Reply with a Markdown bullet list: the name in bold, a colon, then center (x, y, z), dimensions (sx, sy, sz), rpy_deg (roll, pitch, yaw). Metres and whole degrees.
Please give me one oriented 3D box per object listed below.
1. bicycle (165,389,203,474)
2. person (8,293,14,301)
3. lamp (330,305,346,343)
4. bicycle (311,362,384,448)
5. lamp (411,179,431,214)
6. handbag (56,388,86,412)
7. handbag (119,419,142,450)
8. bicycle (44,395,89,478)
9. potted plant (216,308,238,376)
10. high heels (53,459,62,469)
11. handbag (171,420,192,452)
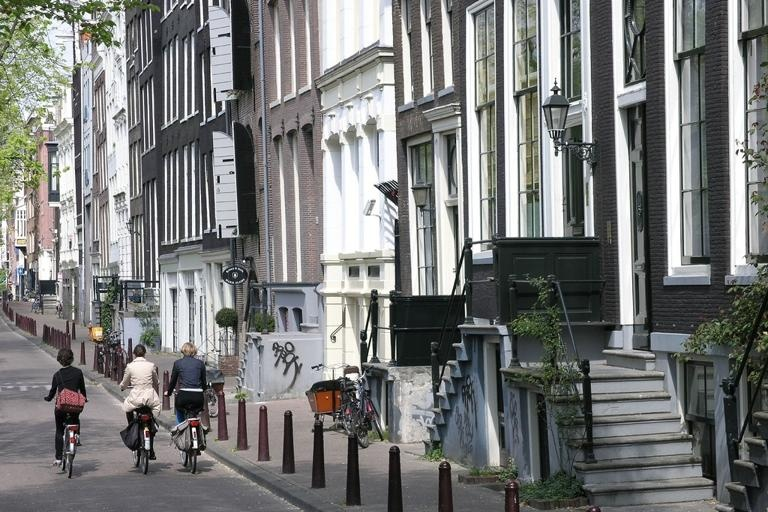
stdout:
- **bicycle**: center (-3.734, 3.423, 24.404), dimensions (0.678, 0.915, 1.440), rpy_deg (-2, 0, -14)
- **person**: center (-42.253, 4.551, 143.551), dimensions (0.298, 0.949, 0.674), rpy_deg (4, 6, 17)
- **lamp**: center (-1.124, 1.743, 32.709), dimensions (0.202, 0.907, 0.597), rpy_deg (3, -6, -42)
- **bicycle**: center (-0.697, 3.186, 26.797), dimensions (0.924, 1.173, 1.931), rpy_deg (-10, 4, -19)
- **lamp**: center (0.828, -1.326, 27.342), dimensions (0.549, 0.831, 0.560), rpy_deg (3, 3, 2)
- **handbag**: center (-5.985, 2.737, 24.220), dimensions (0.405, 0.394, 0.201), rpy_deg (10, -12, -31)
- **handbag**: center (-4.845, 3.436, 24.332), dimensions (0.305, 0.568, 0.380), rpy_deg (1, -5, -24)
- **bicycle**: center (-5.977, 3.334, 24.112), dimensions (0.557, 1.616, 1.354), rpy_deg (0, -5, -14)
- **potted plant**: center (-5.072, 2.758, 41.294), dimensions (0.683, 2.157, 2.357), rpy_deg (0, -5, -7)
- **high heels**: center (-6.220, 3.953, 24.153), dimensions (0.151, 0.191, 0.206), rpy_deg (4, 17, -5)
- **handbag**: center (-3.911, 3.439, 24.488), dimensions (0.187, 0.600, 0.621), rpy_deg (2, -6, -36)
